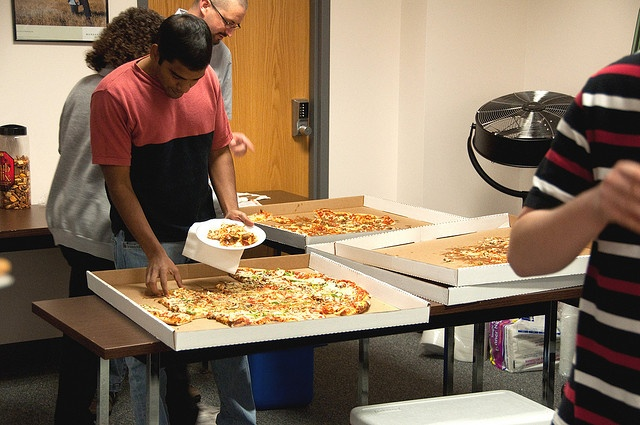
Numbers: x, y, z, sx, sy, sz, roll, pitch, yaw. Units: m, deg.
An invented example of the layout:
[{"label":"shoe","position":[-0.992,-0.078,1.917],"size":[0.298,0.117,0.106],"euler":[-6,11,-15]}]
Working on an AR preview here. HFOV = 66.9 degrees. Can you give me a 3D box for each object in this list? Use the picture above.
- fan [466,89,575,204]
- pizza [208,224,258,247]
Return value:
[{"label":"fan","position":[1.703,-0.506,3.984],"size":[0.922,0.837,0.865],"euler":[-8,0,-35]},{"label":"pizza","position":[-0.359,0.093,1.934],"size":[0.108,0.017,0.115],"euler":[18,18,33]}]
